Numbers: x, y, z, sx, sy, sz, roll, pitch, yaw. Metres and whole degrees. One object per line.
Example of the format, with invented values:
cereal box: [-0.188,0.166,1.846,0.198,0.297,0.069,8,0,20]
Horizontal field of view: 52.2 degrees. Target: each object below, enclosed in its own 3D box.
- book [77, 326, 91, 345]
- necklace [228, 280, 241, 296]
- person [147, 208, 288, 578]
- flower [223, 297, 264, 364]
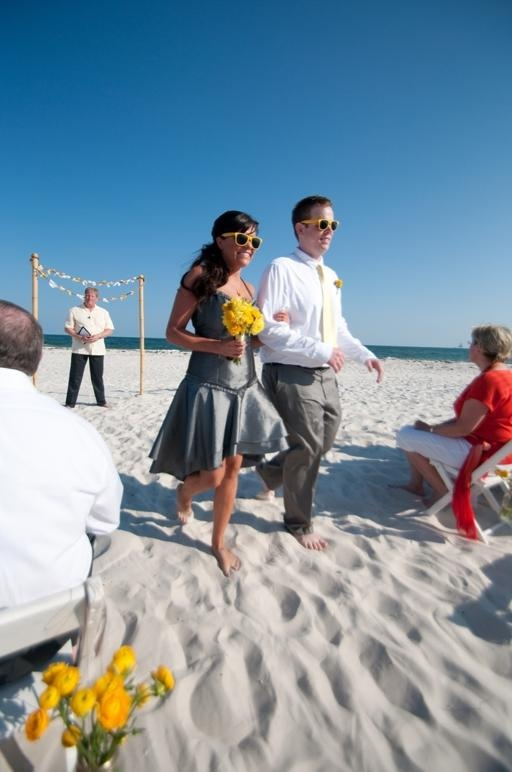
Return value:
book: [-2.549,-0.751,7.767,0.170,0.237,0.068,-1,11,-13]
necklace: [-0.122,-0.506,2.741,0.028,0.091,0.089,2,-5,31]
person: [-0.183,0.035,2.736,0.684,1.834,0.711,3,3,-11]
flower: [-0.091,-0.293,2.472,0.187,0.200,0.198,-6,2,-28]
